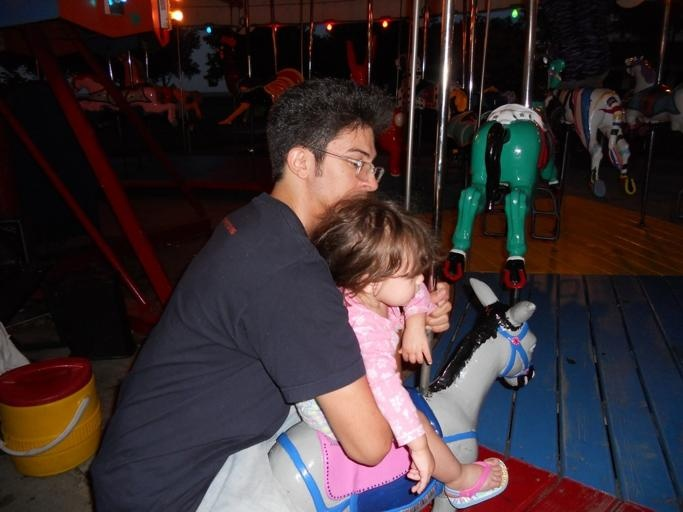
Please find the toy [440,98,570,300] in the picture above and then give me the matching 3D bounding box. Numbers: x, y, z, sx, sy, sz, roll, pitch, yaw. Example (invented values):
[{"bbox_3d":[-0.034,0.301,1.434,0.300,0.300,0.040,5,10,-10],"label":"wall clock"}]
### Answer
[{"bbox_3d":[0.923,-0.289,2.905,0.626,1.191,0.601,5,16,19],"label":"toy"}]
